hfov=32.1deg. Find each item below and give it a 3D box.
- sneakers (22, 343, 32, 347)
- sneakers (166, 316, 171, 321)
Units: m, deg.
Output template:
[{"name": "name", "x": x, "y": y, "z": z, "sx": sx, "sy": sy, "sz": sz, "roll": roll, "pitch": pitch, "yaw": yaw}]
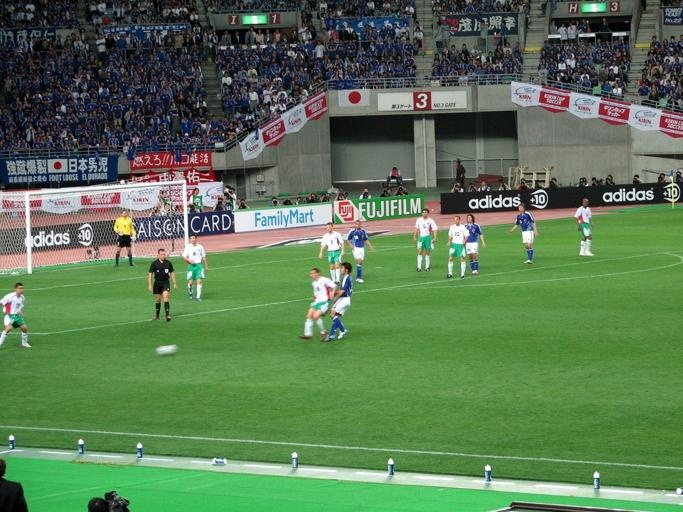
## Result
[{"name": "sneakers", "x": -9.721, "y": 2.719, "z": 36.595, "sx": 0.271, "sy": 0.147, "sz": 0.333, "roll": -4, "pitch": 7, "yaw": -18}, {"name": "sneakers", "x": -5.735, "y": 2.063, "z": 39.265, "sx": 0.160, "sy": 0.197, "sz": 0.474, "roll": 0, "pitch": 5, "yaw": -8}]
